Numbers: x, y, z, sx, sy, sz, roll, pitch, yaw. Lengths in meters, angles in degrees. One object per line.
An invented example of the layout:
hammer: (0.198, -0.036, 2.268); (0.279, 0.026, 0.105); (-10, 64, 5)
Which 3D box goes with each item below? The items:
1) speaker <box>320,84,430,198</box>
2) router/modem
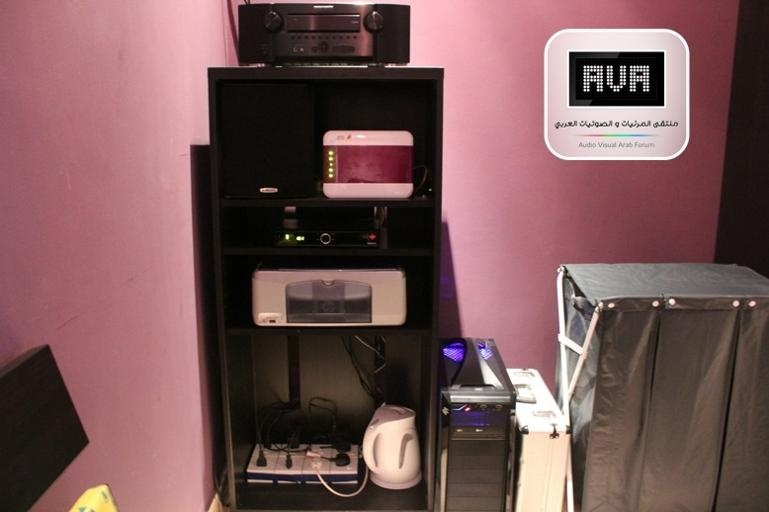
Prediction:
speaker: (-0.057, -0.406, 3.094); (0.423, 0.304, 0.299); (1, 3, 8)
router/modem: (-0.078, -0.386, 2.960); (0.448, 0.339, 0.264); (0, 5, -1)
